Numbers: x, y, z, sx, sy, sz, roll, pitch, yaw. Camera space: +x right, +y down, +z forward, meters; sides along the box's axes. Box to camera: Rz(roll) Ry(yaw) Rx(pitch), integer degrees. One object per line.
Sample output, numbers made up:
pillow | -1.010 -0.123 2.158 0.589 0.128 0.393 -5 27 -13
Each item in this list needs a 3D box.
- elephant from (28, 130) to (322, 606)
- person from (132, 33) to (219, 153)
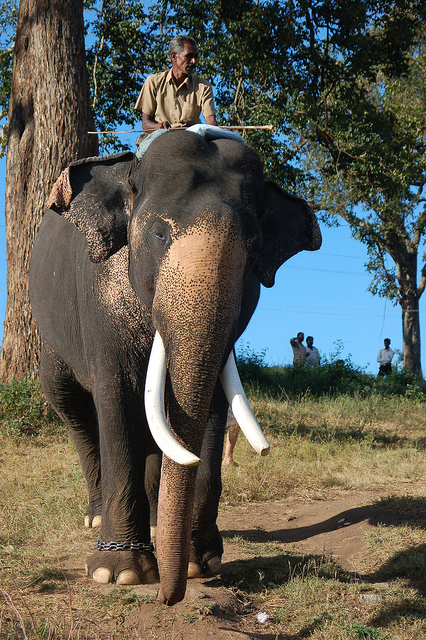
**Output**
elephant | -0.298 0.229 5.416 1.296 2.536 3.056 -1 5 -17
person | -0.223 -1.374 5.667 0.514 0.741 0.501 2 15 2
